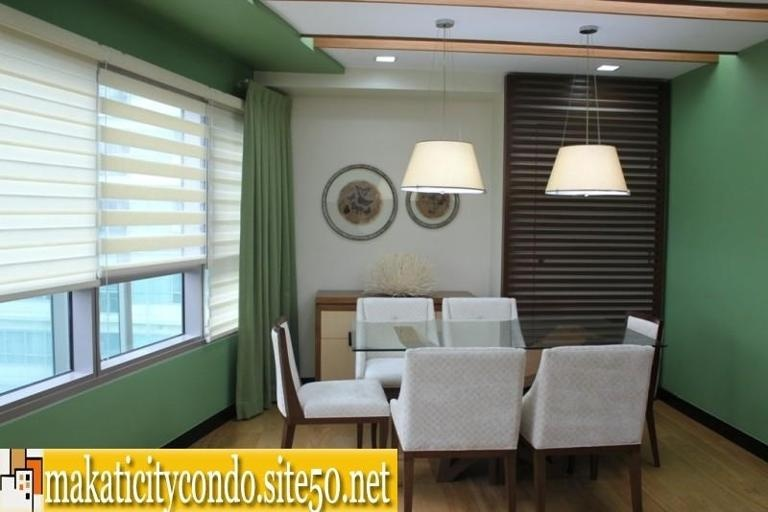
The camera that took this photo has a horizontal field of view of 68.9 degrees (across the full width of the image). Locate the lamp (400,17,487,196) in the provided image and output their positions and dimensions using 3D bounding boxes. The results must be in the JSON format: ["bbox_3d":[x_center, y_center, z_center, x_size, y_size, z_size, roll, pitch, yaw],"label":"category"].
[{"bbox_3d":[0.444,-1.145,4.374,0.569,1.303,1.315,0,5,5],"label":"lamp"}]

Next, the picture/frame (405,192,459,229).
[{"bbox_3d":[0.466,-0.459,5.557,0.422,0.407,0.095,-2,6,-3],"label":"picture/frame"}]

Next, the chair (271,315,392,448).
[{"bbox_3d":[-0.385,0.880,4.395,1.010,1.206,0.820,-1,1,-3],"label":"chair"}]

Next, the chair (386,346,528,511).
[{"bbox_3d":[0.471,1.035,3.746,0.930,1.218,0.993,1,-1,2],"label":"chair"}]

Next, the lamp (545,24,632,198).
[{"bbox_3d":[1.691,-1.150,4.658,0.674,1.284,1.685,2,6,23],"label":"lamp"}]

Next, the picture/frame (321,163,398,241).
[{"bbox_3d":[-0.284,-0.539,5.528,0.801,0.767,0.059,0,5,-3],"label":"picture/frame"}]
